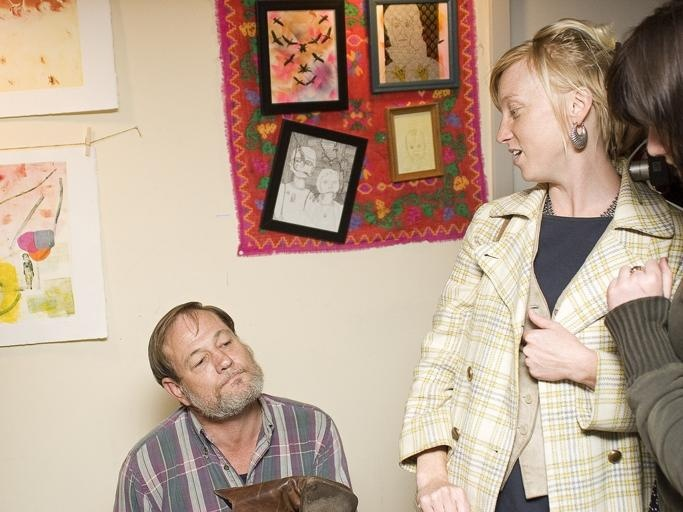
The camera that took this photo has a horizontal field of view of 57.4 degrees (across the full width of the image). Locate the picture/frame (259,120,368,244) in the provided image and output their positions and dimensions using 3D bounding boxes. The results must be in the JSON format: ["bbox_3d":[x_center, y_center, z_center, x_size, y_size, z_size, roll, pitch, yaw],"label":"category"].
[{"bbox_3d":[-0.135,-0.326,2.622,0.412,0.500,0.035,14,0,-12],"label":"picture/frame"}]

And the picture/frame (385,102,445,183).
[{"bbox_3d":[0.305,-0.495,2.678,0.291,0.387,0.042,-8,5,-11],"label":"picture/frame"}]
